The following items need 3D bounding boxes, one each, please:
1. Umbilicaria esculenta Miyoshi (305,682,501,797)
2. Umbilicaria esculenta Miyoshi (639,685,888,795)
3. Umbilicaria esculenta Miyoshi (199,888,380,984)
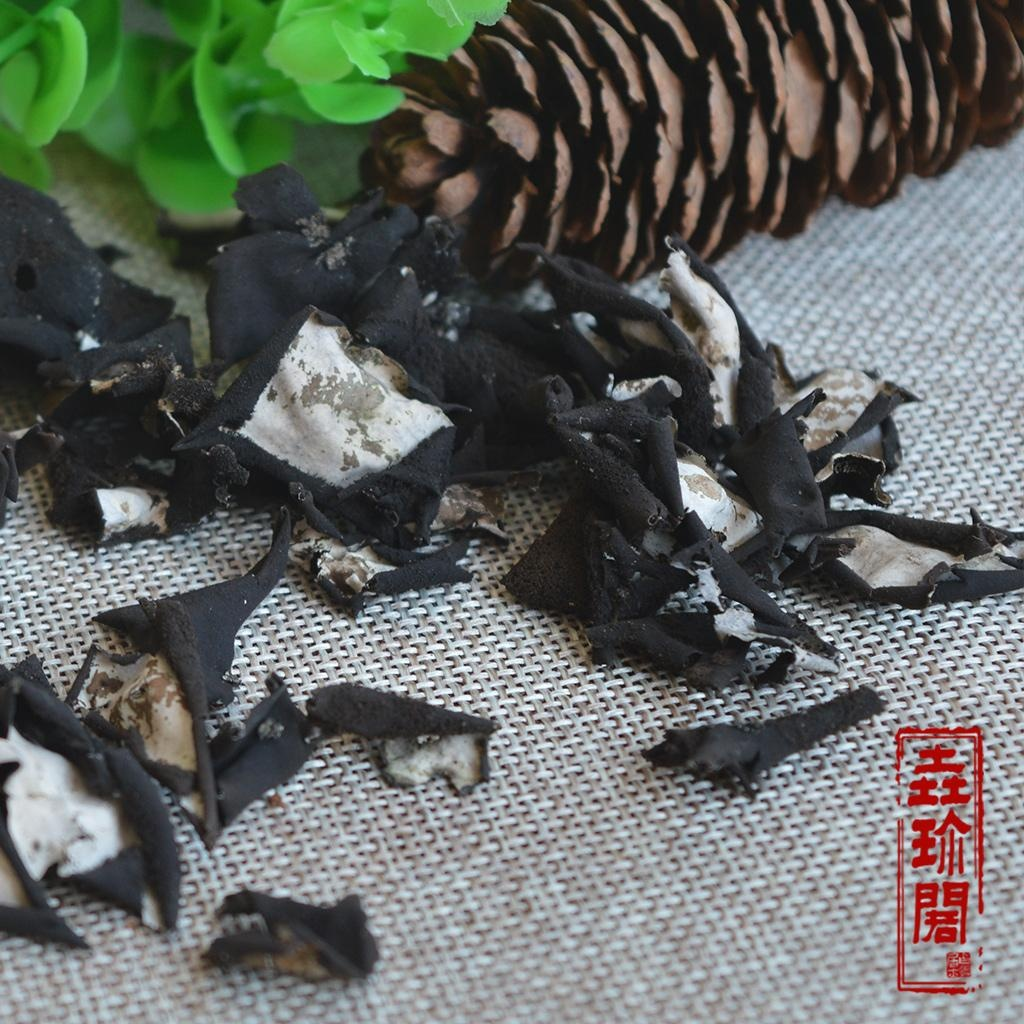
[{"bbox_3d":[-0.070,0.134,0.974,0.105,0.027,0.060,34,97,1],"label":"Umbilicaria esculenta Miyoshi"},{"bbox_3d":[0.155,0.118,0.958,0.071,0.033,0.106,18,48,37],"label":"Umbilicaria esculenta Miyoshi"},{"bbox_3d":[-0.123,0.246,0.899,0.086,0.028,0.050,8,44,6],"label":"Umbilicaria esculenta Miyoshi"}]
